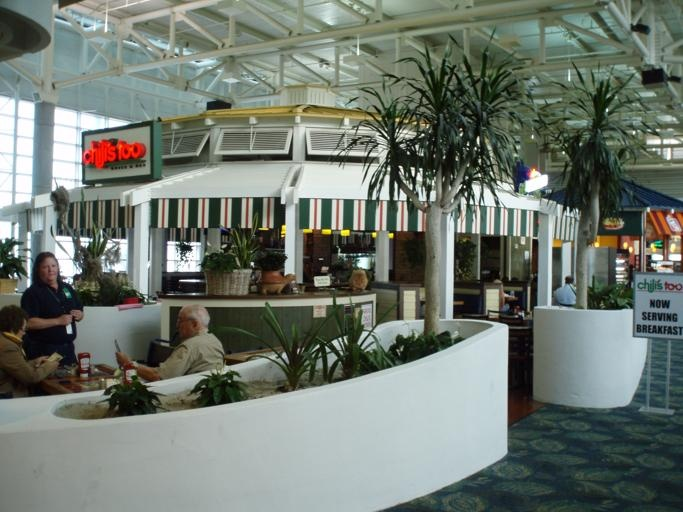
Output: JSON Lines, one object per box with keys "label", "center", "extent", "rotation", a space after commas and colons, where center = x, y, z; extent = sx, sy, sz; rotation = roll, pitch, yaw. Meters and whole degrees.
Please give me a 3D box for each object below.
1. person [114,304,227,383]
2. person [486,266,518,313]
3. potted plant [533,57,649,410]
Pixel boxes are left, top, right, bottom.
{"label": "person", "center": [-1.252, 0.734, 4.601], "extent": [0.841, 0.672, 0.631], "rotation": [-1, 9, 6]}
{"label": "person", "center": [3.728, 0.788, 13.539], "extent": [0.424, 0.510, 0.741], "rotation": [-2, 6, -20]}
{"label": "potted plant", "center": [2.982, -0.353, 6.971], "extent": [1.516, 3.174, 1.526], "rotation": [-1, 11, 1]}
